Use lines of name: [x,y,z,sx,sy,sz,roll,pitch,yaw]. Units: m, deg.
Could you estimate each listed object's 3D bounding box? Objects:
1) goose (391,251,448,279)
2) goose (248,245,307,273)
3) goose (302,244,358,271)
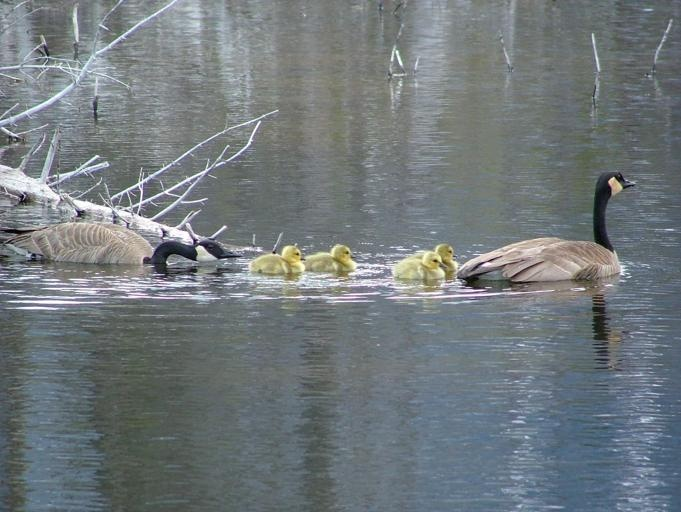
goose: [1.278,0.156,19.893,0.858,0.479,0.365,0,3,7]
goose: [-1.091,0.059,20.259,0.898,0.489,0.517,0,3,0]
goose: [-0.189,0.063,20.379,0.942,0.277,0.508,0,2,14]
